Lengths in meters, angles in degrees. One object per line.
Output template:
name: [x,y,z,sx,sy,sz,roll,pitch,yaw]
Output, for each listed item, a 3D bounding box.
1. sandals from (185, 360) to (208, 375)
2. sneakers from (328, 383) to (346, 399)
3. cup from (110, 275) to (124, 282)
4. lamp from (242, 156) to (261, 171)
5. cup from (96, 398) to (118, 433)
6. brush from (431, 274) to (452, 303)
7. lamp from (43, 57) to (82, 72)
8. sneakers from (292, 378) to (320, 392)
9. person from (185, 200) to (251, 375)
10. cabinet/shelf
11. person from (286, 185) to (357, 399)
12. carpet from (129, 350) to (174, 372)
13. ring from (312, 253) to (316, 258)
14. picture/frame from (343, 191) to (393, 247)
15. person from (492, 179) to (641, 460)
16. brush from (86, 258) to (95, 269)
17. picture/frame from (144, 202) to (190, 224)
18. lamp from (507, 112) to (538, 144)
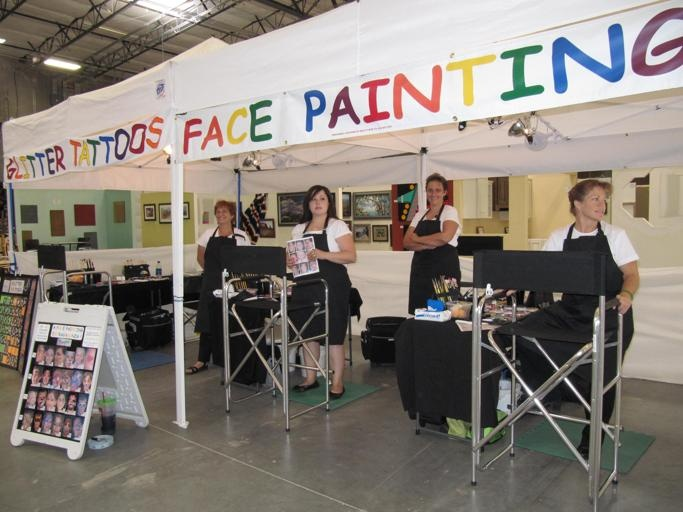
sandals: [-1.642,1.285,6.545,0.111,0.141,0.317,-3,-9,24]
sneakers: [-0.055,1.347,5.645,0.174,0.108,0.450,-2,-5,15]
cup: [-3.107,0.333,7.933,0.188,0.105,0.129,3,1,11]
lamp: [-1.379,-1.386,8.678,0.287,0.228,0.590,-3,10,-8]
cup: [-2.040,1.398,4.976,0.143,0.298,0.154,-1,10,0]
brush: [0.858,0.290,4.894,0.146,0.160,0.537,0,10,10]
lamp: [-6.575,-4.497,13.407,0.781,0.195,0.952,-6,11,-26]
sneakers: [-0.372,1.357,5.901,0.098,0.099,0.247,-10,-14,42]
person: [-1.406,0.362,6.441,0.765,1.944,0.556,-3,10,-7]
cabinet/shelf: [1.019,0.986,4.780,0.886,0.855,0.840,1,0,39]
person: [-0.198,0.389,5.534,0.666,2.106,0.731,3,11,24]
carpet: [-2.354,1.279,7.074,0.496,0.068,0.888,-6,11,-23]
ring: [-0.258,-0.001,5.284,0.050,0.051,0.011,1,10,13]
picture/frame: [0.554,-0.698,11.116,1.157,1.250,0.092,4,9,37]
person: [1.795,0.483,4.367,0.864,2.083,0.926,1,10,11]
brush: [-3.737,0.125,8.459,0.099,0.135,0.132,-3,-6,7]
picture/frame: [-4.386,-1.061,14.223,1.739,0.550,0.237,7,12,38]
lamp: [1.991,-1.352,6.157,0.298,0.311,0.489,-4,10,-14]
